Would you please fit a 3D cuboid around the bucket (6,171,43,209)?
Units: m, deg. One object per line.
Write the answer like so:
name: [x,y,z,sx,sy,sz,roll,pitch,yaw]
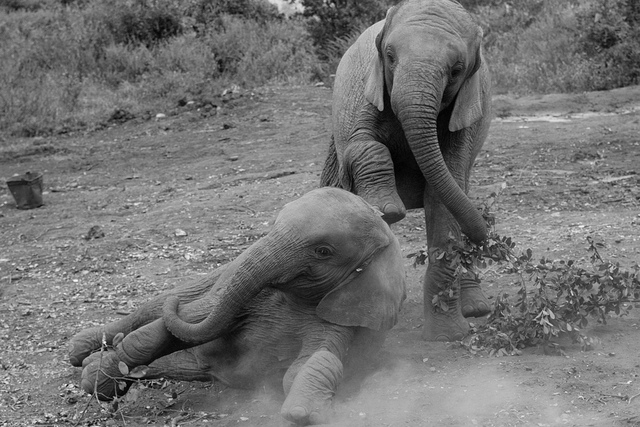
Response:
bucket: [-4.576,-0.358,14.865,0.624,0.522,0.684,-3,13,1]
